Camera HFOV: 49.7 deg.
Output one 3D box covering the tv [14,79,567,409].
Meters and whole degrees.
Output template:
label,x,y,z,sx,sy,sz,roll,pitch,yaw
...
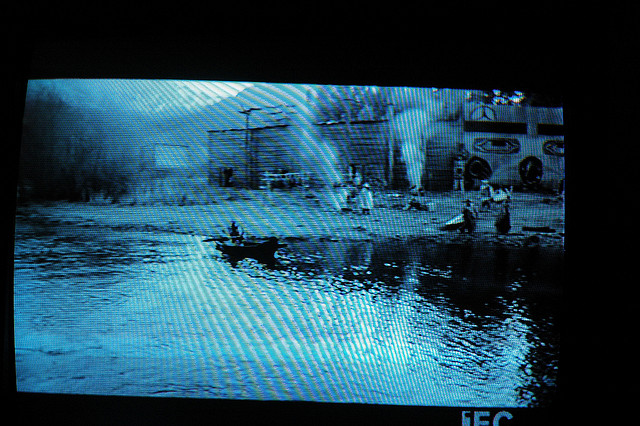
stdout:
label,x,y,z,sx,sy,sz,roll,pitch,yaw
tv,-0.226,0.039,3.427,3.854,1.463,0.061,-1,-5,42
